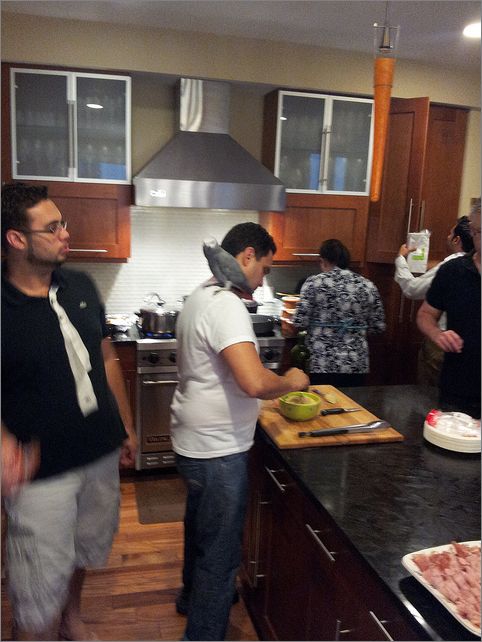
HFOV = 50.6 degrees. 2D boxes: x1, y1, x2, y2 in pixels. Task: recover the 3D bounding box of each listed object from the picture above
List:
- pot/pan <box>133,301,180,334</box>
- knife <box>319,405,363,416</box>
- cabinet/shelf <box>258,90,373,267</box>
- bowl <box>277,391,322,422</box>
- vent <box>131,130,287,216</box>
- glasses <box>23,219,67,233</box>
[{"bbox_3d":[-0.556,-0.030,3.388,0.224,0.303,0.193,-5,8,-39],"label":"pot/pan"},{"bbox_3d":[0.344,0.313,1.764,0.140,0.020,0.031,-3,3,-30],"label":"knife"},{"bbox_3d":[0.596,-0.990,3.764,0.659,1.116,0.350,4,24,8],"label":"cabinet/shelf"},{"bbox_3d":[0.208,0.281,1.691,0.110,0.056,0.109,-3,12,1],"label":"bowl"},{"bbox_3d":[-0.250,-1.043,3.497,0.996,0.483,0.739,-1,17,-13],"label":"vent"},{"bbox_3d":[-0.531,-0.258,1.395,0.047,0.043,0.118,5,8,19],"label":"glasses"}]
